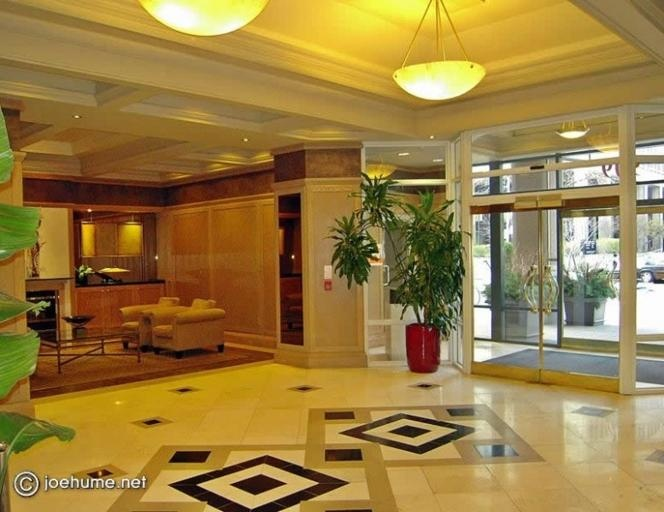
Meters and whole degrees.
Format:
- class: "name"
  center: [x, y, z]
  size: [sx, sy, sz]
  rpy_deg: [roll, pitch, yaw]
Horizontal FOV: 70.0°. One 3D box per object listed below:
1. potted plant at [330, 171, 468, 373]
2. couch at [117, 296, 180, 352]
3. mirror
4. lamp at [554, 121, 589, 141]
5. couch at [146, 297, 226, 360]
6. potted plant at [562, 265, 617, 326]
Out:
- class: "potted plant"
  center: [1.126, 0.229, 7.318]
  size: [1.827, 3.105, 0.975]
  rpy_deg: [-1, 1, 15]
- class: "couch"
  center: [-3.659, 1.224, 9.409]
  size: [1.249, 1.121, 1.056]
  rpy_deg: [-2, -4, 44]
- class: "mirror"
  center: [-0.731, 0.287, 8.201]
  size: [0.474, 2.811, 0.840]
  rpy_deg: [-4, 5, -12]
- class: "lamp"
  center: [3.221, -1.602, 6.301]
  size: [0.313, 0.316, 0.237]
  rpy_deg: [-3, -9, 28]
- class: "couch"
  center: [-2.678, 1.369, 8.989]
  size: [1.079, 1.008, 1.446]
  rpy_deg: [4, -5, -44]
- class: "potted plant"
  center: [3.381, 0.516, 6.361]
  size: [0.852, 0.871, 0.725]
  rpy_deg: [2, -3, -41]
